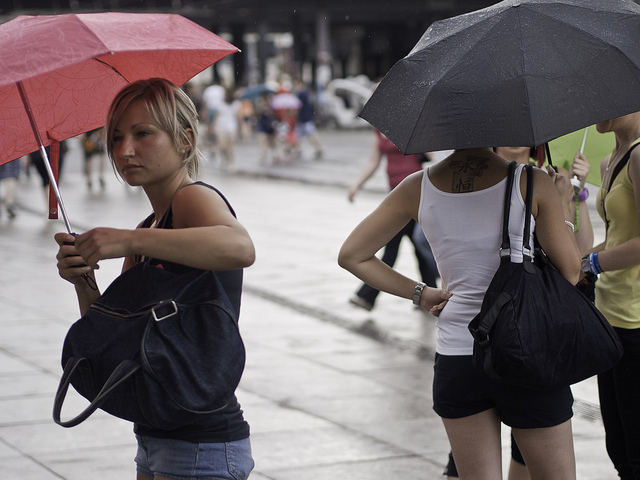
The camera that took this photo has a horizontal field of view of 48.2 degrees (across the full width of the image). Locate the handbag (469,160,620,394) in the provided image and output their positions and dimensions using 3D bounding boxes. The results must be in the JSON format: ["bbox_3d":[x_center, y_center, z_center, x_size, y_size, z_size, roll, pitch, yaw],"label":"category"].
[{"bbox_3d":[0.772,0.131,2.425,0.483,0.745,0.315,5,13,22],"label":"handbag"}]

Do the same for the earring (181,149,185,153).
[{"bbox_3d":[-0.497,-0.322,2.563,0.004,0.014,0.015,7,14,30],"label":"earring"}]

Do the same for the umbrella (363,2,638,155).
[{"bbox_3d":[0.682,-0.571,2.471,0.706,0.225,0.693,-18,24,-7],"label":"umbrella"}]

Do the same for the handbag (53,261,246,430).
[{"bbox_3d":[-0.613,0.365,2.447,0.639,0.550,0.540,3,-2,40],"label":"handbag"}]

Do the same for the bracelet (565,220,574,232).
[{"bbox_3d":[0.905,-0.056,2.595,0.039,0.011,0.029,55,22,20],"label":"bracelet"}]
